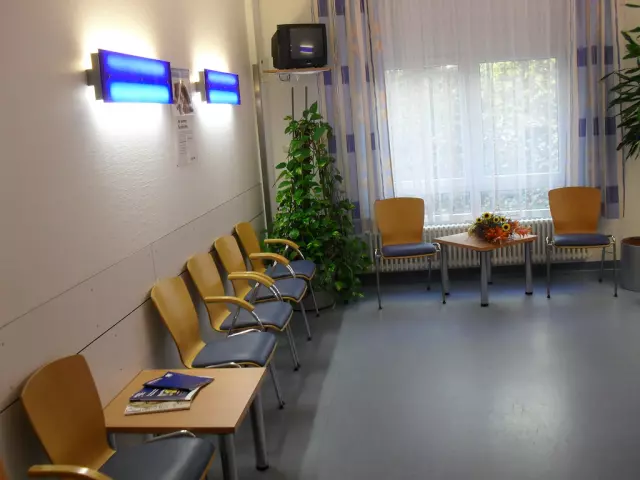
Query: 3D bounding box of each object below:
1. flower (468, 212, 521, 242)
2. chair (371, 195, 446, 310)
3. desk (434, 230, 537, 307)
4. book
[{"bbox_3d":[1.936,-0.191,4.935,0.376,0.228,0.388,-4,5,-4],"label":"flower"},{"bbox_3d":[0.996,0.097,5.043,0.841,1.207,0.896,-2,4,31],"label":"chair"},{"bbox_3d":[1.919,0.163,5.124,1.075,0.833,0.823,-9,9,-44],"label":"desk"},{"bbox_3d":[-0.844,0.854,2.484,0.410,0.085,0.378,2,14,16],"label":"book"}]
